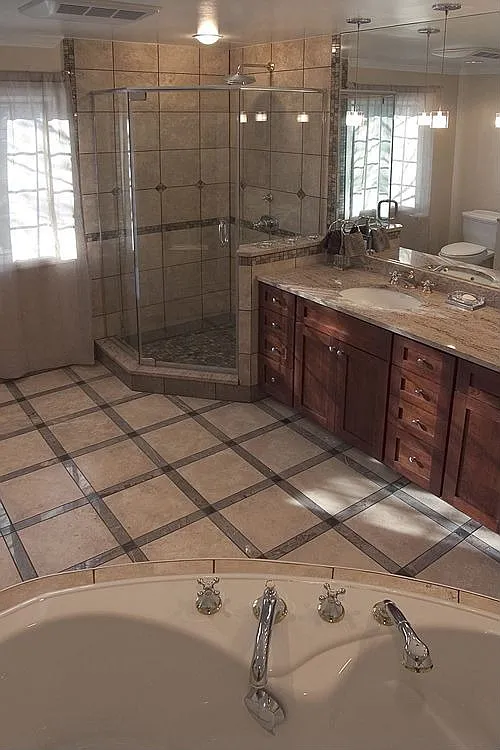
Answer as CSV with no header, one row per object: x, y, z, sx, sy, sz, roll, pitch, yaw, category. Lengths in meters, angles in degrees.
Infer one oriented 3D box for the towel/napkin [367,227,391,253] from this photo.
0.859,-0.902,3.701,0.048,0.162,0.121,-15,10,-35,towel/napkin

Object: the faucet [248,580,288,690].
0.051,0.514,1.156,0.073,0.081,0.234,5,51,5,faucet

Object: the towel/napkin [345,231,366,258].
0.720,-0.894,3.773,0.137,0.184,0.102,6,26,32,towel/napkin

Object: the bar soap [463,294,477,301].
1.232,-0.433,3.119,0.070,0.024,0.113,7,20,19,bar soap

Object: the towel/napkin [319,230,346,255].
0.573,-0.941,3.934,0.129,0.180,0.186,-5,30,-15,towel/napkin

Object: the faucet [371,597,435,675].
0.312,0.522,1.169,0.067,0.072,0.195,-6,16,-8,faucet

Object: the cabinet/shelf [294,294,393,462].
0.554,-0.001,3.191,0.385,0.721,0.741,-11,27,-27,cabinet/shelf
